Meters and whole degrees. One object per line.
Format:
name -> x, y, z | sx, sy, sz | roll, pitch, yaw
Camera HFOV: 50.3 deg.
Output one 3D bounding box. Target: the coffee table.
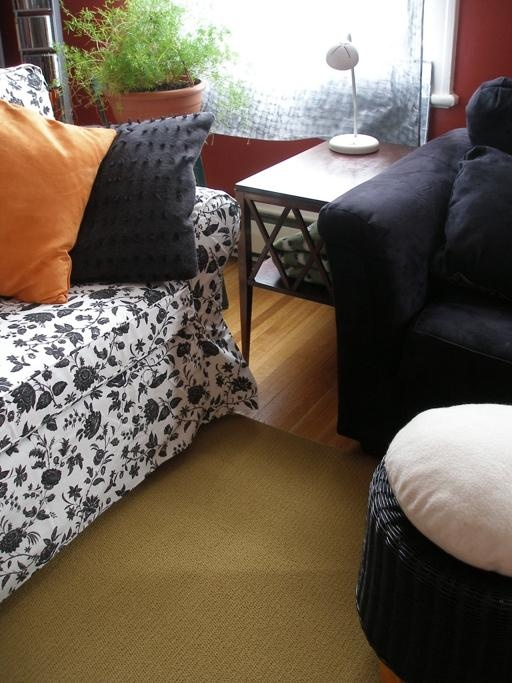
coffee table -> 0.164, -0.380, 1.867 | 0.540, 0.726, 0.787 | 17, 39, 24
